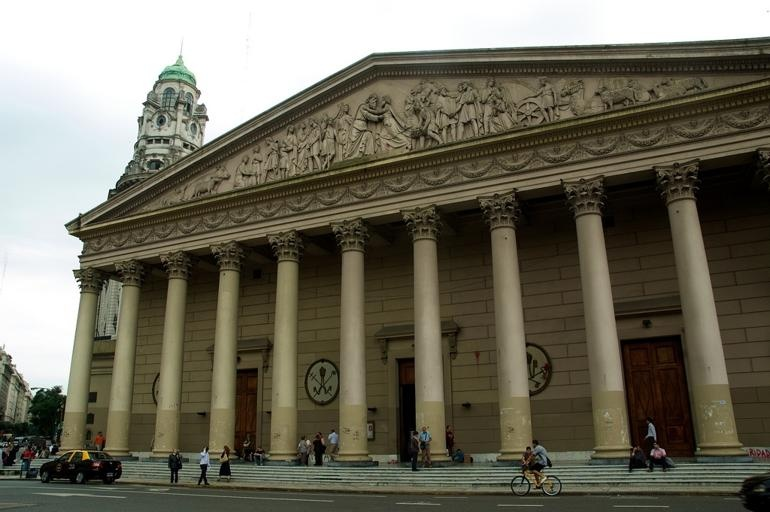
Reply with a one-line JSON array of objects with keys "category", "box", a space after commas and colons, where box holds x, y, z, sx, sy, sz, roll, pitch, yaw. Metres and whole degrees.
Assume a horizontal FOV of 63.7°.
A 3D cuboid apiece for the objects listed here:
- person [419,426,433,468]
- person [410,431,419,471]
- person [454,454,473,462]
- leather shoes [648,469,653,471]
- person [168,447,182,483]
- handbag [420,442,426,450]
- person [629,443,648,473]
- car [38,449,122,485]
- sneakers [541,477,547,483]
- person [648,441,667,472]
[{"category": "person", "box": [1.823, 8.474, 27.626, 0.522, 1.757, 0.801, -4, -21, 7]}, {"category": "person", "box": [1.323, 8.530, 27.194, 0.409, 1.685, 0.927, -3, -21, 3]}, {"category": "person", "box": [3.828, 9.846, 30.108, 0.805, 0.424, 0.867, -5, -15, 17]}, {"category": "leather shoes", "box": [10.314, 8.319, 24.052, 0.171, 0.116, 0.250, -9, -22, 20]}, {"category": "person", "box": [-9.937, 9.951, 29.309, 0.507, 1.532, 2.178, 5, -22, -17]}, {"category": "handbag", "box": [1.697, 8.428, 27.490, 0.163, 0.284, 0.394, 6, -22, -18]}, {"category": "person", "box": [10.329, 8.286, 25.275, 0.901, 1.237, 0.492, 6, -45, 17]}, {"category": "car", "box": [-14.734, 10.211, 29.982, 4.021, 1.575, 1.395, -12, -23, 26]}, {"category": "sneakers", "box": [5.874, 8.256, 22.899, 0.229, 0.206, 0.423, -7, -21, 14]}, {"category": "person", "box": [11.010, 8.156, 25.077, 0.762, 1.204, 0.878, -19, -72, 28]}]
